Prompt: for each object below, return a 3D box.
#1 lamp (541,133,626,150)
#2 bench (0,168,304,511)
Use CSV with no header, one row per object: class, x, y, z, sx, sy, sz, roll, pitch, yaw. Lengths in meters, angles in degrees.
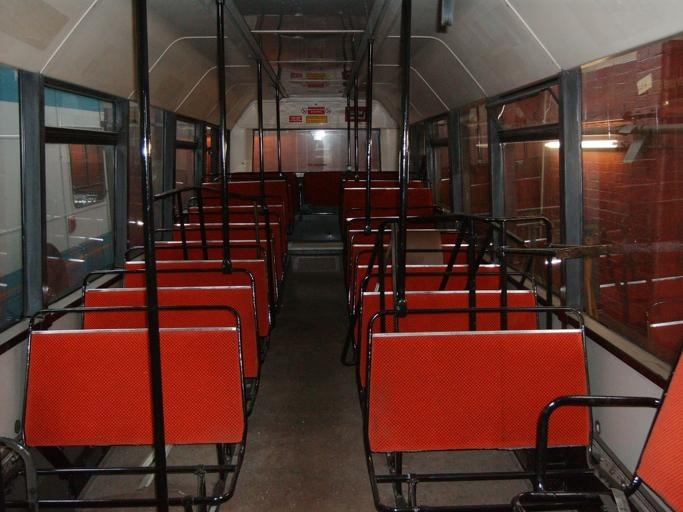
lamp,2.116,-0.966,4.664,0.088,0.096,0.889,0,7,-14
bench,-1.088,0.680,3.903,1.278,1.674,2.660,-1,20,1
